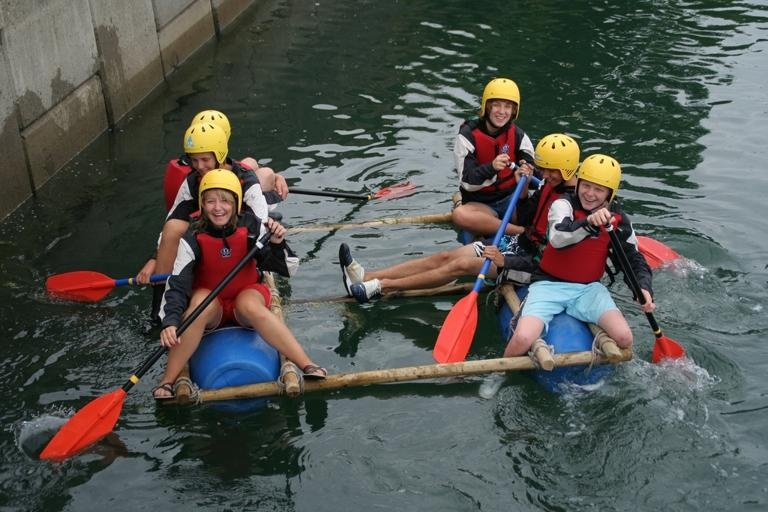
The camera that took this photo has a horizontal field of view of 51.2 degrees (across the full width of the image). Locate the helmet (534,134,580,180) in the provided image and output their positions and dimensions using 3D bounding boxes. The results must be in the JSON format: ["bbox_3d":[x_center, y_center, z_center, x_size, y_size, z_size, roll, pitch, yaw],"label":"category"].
[{"bbox_3d":[1.912,-1.155,9.178,0.578,0.453,0.450,-15,32,-36],"label":"helmet"}]

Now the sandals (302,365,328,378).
[{"bbox_3d":[-0.717,1.189,8.190,0.260,0.090,0.113,-1,3,8],"label":"sandals"}]

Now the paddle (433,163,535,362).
[{"bbox_3d":[1.216,-0.241,9.364,0.480,0.170,2.421,6,28,-21],"label":"paddle"}]

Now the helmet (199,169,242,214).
[{"bbox_3d":[-1.678,-0.702,8.426,0.421,0.422,0.505,-1,-10,-2],"label":"helmet"}]

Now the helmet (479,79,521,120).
[{"bbox_3d":[1.434,-1.992,9.912,0.447,0.501,0.373,10,34,6],"label":"helmet"}]

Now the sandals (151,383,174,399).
[{"bbox_3d":[-2.229,1.362,8.056,0.219,0.093,0.379,-1,-5,-8],"label":"sandals"}]
